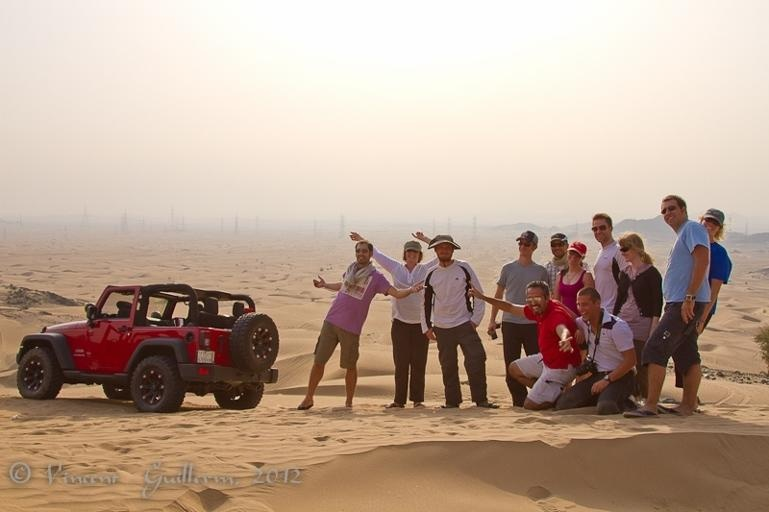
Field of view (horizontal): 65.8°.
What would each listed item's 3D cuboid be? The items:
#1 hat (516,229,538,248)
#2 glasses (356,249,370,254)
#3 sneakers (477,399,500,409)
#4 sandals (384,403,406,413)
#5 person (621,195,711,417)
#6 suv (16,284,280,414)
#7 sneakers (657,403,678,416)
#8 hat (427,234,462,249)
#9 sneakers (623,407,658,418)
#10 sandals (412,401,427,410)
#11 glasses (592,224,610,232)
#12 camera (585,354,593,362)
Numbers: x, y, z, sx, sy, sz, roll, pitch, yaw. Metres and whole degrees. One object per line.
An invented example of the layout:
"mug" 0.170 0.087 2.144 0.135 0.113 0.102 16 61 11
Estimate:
"hat" 2.529 -0.285 10.361 0.431 0.206 0.273 19 -8 -37
"glasses" -0.375 -0.083 10.603 0.212 0.099 0.061 -3 2 -13
"sneakers" 1.702 2.469 9.817 0.405 0.130 0.125 -1 1 16
"sandals" 0.169 2.697 10.499 0.389 0.123 0.128 4 -4 15
"person" 4.133 0.765 8.489 0.948 3.245 0.961 -3 3 26
"suv" -4.808 1.885 12.461 5.456 2.027 2.660 2 -4 25
"sneakers" 4.225 2.308 8.903 0.326 0.109 0.414 1 -6 0
"hat" 0.999 -0.236 10.013 0.440 0.219 0.490 -3 2 0
"sneakers" 3.660 2.245 8.466 0.498 0.100 0.174 4 -10 -10
"sandals" 0.628 2.684 10.571 0.116 0.097 0.282 1 1 -10
"glasses" 3.589 -0.450 9.898 0.289 0.095 0.127 -3 2 -6
"camera" 3.207 1.630 9.311 0.087 0.063 0.092 4 -3 -3
